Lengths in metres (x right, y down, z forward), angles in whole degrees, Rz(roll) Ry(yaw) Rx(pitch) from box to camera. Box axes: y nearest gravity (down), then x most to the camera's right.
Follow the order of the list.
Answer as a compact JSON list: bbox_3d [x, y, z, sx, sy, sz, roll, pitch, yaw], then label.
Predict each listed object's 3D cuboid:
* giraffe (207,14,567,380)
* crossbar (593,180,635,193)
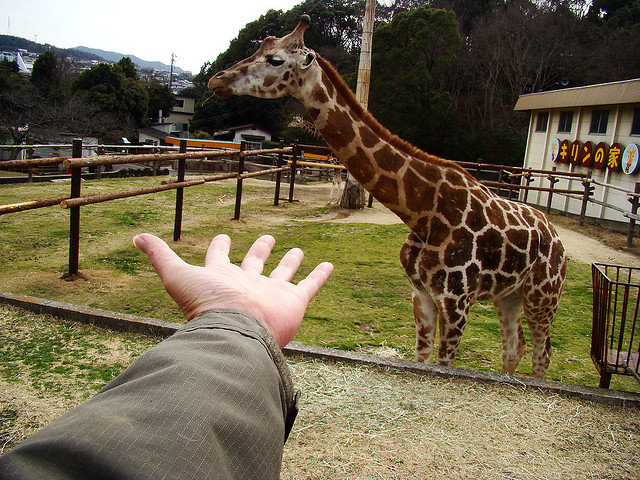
[{"bbox_3d":[0.595,-0.197,3.085,2.240,2.196,0.760,9,11,13],"label":"giraffe"},{"bbox_3d":[5.530,-0.991,8.624,0.463,0.123,3.644,14,13,32],"label":"crossbar"}]
